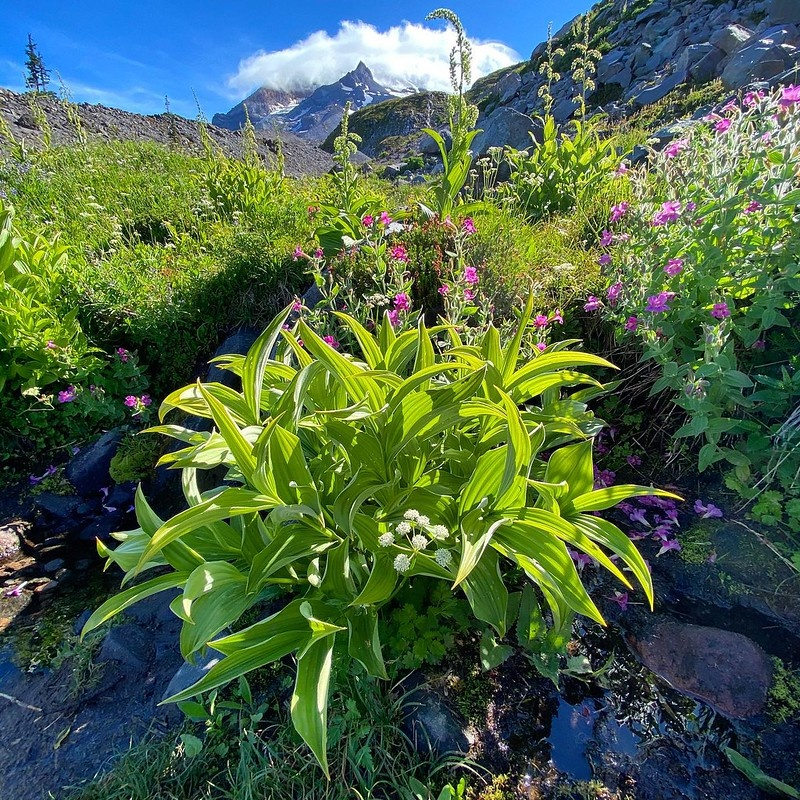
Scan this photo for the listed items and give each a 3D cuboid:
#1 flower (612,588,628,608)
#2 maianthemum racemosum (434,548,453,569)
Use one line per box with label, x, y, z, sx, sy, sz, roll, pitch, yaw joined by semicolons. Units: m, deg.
flower;1.205;1.081;2.423;0.076;0.053;0.081;21;47;20
maianthemum racemosum;0.159;0.596;1.704;0.078;0.047;0.080;34;14;-3
